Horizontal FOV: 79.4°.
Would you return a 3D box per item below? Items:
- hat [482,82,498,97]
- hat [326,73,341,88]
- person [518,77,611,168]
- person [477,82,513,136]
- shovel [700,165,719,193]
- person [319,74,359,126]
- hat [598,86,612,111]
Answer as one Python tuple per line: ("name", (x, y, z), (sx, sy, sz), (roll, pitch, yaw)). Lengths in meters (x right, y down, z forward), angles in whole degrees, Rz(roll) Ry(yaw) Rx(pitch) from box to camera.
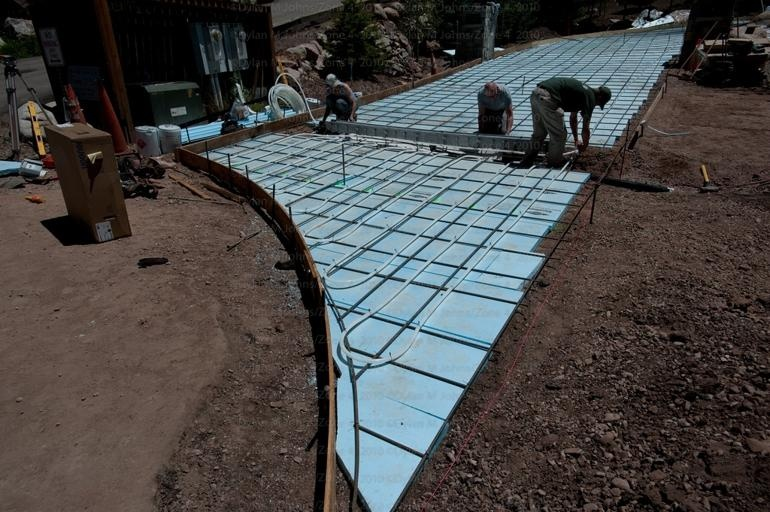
("hat", (1.568, -2.498, 6.855), (0.193, 0.236, 0.233), (-7, 38, 19))
("hat", (-0.967, -3.212, 8.532), (0.180, 0.262, 0.718), (-7, 27, -7))
("person", (2.403, -1.839, 6.463), (0.887, 1.203, 0.480), (5, 28, 15))
("person", (1.698, -2.260, 7.115), (0.471, 0.800, 0.516), (-2, 27, 2))
("shovel", (4.070, -0.960, 5.856), (0.221, 0.047, 0.558), (-8, 29, 24))
("person", (-0.841, -2.874, 8.554), (0.810, 0.856, 0.537), (14, 28, 20))
("hat", (3.009, -2.192, 6.378), (0.148, 0.284, 0.431), (10, 29, 24))
